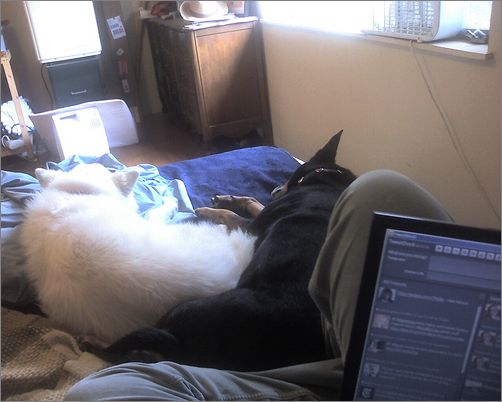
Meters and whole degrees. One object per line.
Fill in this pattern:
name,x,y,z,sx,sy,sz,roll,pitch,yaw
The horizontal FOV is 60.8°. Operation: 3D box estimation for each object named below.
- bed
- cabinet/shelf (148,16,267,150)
bed,-0.066,-0.130,2.176,0.634,0.099,0.392,-12,32,-5
cabinet/shelf,-0.443,-1.291,4.210,0.609,1.095,1.696,-14,31,-13
